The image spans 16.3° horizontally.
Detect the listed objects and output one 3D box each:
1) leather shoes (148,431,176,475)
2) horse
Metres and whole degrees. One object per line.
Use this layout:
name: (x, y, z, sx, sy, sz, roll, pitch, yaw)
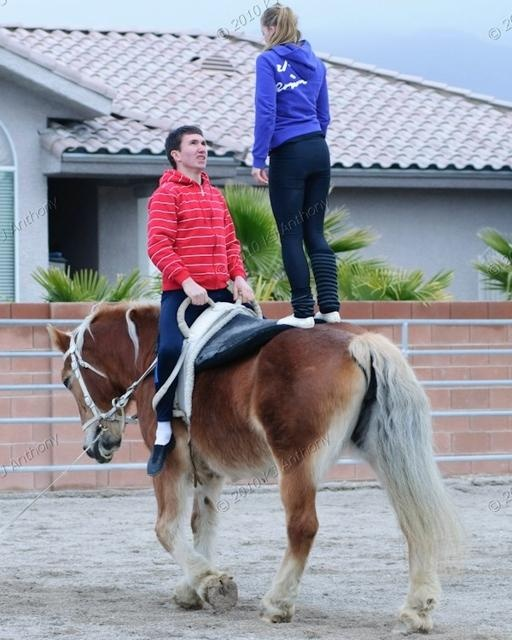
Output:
leather shoes: (-0.637, 0.912, 11.895, 0.105, 0.299, 0.122, 9, -16, 32)
horse: (-0.006, 0.951, 11.849, 2.667, 1.941, 0.939, 7, 11, 41)
